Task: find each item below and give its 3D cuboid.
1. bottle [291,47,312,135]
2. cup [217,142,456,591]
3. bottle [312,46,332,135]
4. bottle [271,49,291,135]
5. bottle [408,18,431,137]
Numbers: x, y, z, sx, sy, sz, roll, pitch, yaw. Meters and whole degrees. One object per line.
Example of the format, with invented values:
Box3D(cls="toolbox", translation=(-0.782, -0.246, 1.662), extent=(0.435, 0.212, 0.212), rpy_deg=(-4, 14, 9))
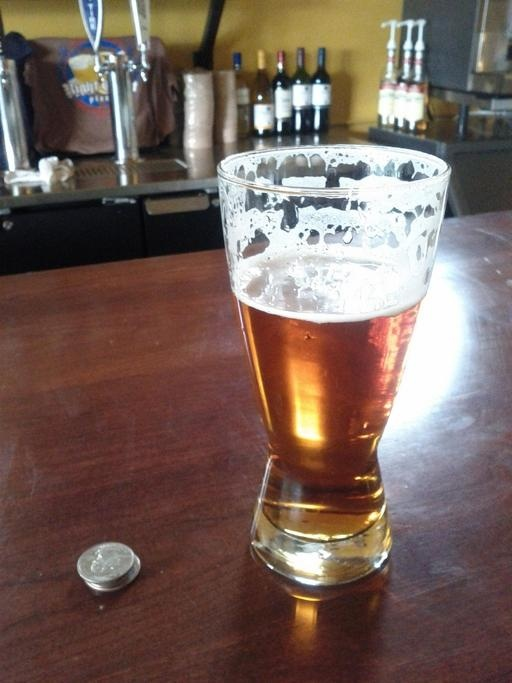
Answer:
Box3D(cls="bottle", translation=(0.179, -0.983, 2.304), extent=(0.078, 0.308, 0.146), rpy_deg=(-1, 25, 5))
Box3D(cls="cup", translation=(0.042, 0.010, 0.338), extent=(0.111, 0.225, 0.135), rpy_deg=(-4, 25, -3))
Box3D(cls="bottle", translation=(0.258, -1.001, 2.339), extent=(0.070, 0.314, 0.153), rpy_deg=(0, 26, 7))
Box3D(cls="bottle", translation=(0.098, -0.947, 2.237), extent=(0.075, 0.295, 0.142), rpy_deg=(-1, 25, 4))
Box3D(cls="bottle", translation=(0.626, -1.019, 2.238), extent=(0.080, 0.390, 0.354), rpy_deg=(4, 26, 15))
